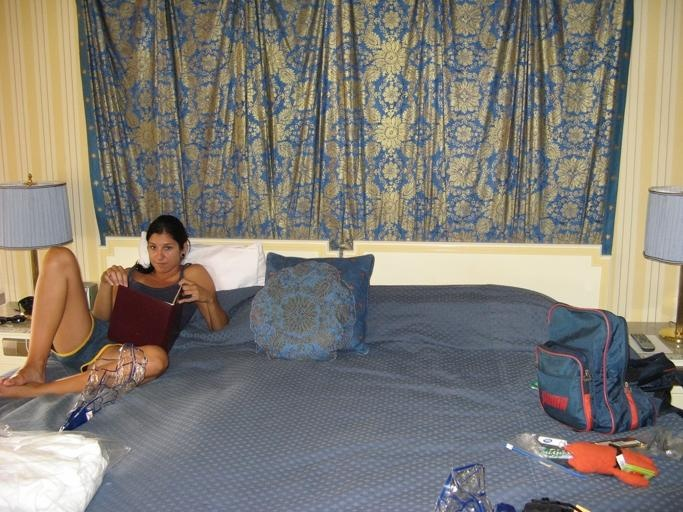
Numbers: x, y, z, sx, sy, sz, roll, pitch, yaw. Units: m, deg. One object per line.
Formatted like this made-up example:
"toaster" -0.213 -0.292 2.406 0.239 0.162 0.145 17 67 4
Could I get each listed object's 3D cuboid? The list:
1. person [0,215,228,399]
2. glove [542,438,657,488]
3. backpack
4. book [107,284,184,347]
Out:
"person" -0.945 0.274 2.638 0.759 0.682 0.960 10 -6 5
"glove" 0.870 0.662 1.726 0.225 0.049 0.144 -1 -1 7
"backpack" 0.986 0.428 2.040 0.443 0.432 0.283 1 9 20
"book" -0.915 0.292 2.471 0.325 0.314 0.199 -4 8 -12
